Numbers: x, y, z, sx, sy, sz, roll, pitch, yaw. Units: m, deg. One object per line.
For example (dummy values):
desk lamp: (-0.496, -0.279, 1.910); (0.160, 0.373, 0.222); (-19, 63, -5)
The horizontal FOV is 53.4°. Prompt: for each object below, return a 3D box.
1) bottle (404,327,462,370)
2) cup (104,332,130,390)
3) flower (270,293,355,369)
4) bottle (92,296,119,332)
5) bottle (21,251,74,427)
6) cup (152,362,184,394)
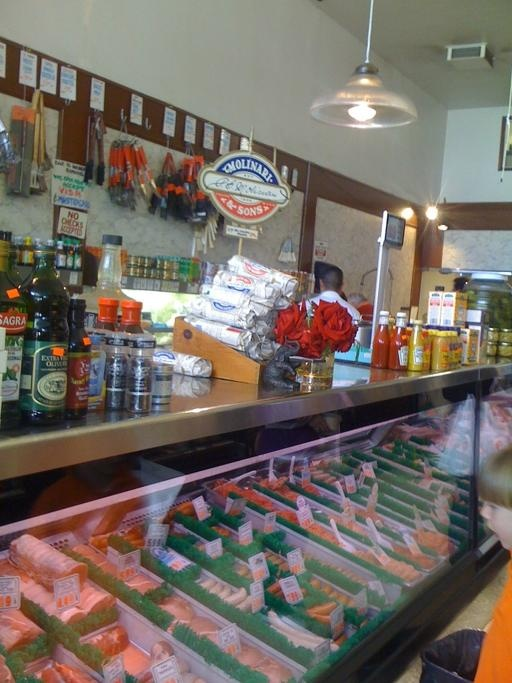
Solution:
bottle: (0.686, 0.022, 1.952); (0.244, 0.233, 0.139); (0, 4, 6)
cup: (-0.227, 0.031, 0.828); (0.038, 0.088, 0.023); (4, 5, -14)
flower: (0.153, -0.038, 1.404); (0.186, 0.151, 0.212); (8, 6, 32)
bottle: (-0.273, -0.052, 0.933); (0.036, 0.055, 0.122); (4, 5, -16)
bottle: (-0.288, -0.016, 0.695); (0.055, 0.234, 0.108); (3, 5, -25)
cup: (-0.148, 0.062, 0.895); (0.058, 0.061, 0.057); (0, -3, 0)
